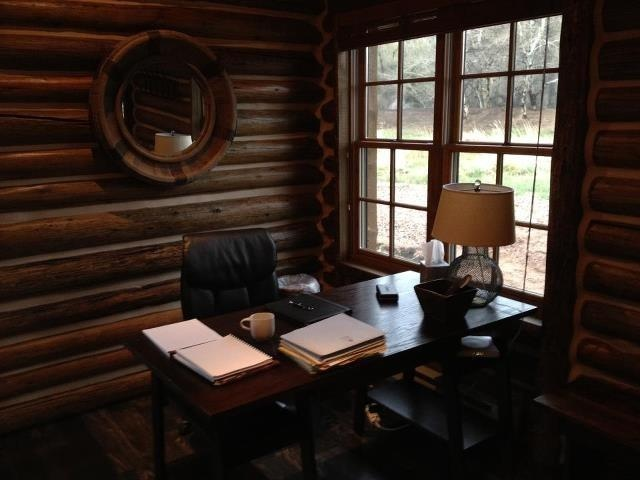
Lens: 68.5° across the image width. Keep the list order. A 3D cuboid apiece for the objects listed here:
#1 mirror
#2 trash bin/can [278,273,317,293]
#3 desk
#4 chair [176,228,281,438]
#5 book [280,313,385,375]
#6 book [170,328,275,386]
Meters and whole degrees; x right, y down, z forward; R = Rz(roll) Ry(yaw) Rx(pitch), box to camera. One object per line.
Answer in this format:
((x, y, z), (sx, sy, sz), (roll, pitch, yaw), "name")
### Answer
((-1.202, -1.018, 3.657), (1.104, 1.143, 0.180), (-8, 16, -35), "mirror")
((-0.194, 0.385, 4.228), (0.233, 0.075, 0.167), (1, 9, 11), "trash bin/can")
((0.022, 0.849, 2.642), (1.876, 0.917, 0.791), (-6, 14, -30), "desk")
((-0.465, 0.464, 2.910), (0.735, 0.848, 0.827), (-1, 25, -13), "chair")
((0.084, 0.488, 2.264), (0.341, 0.071, 0.243), (-8, 15, -35), "book")
((-0.465, 0.561, 2.234), (0.418, 0.077, 0.291), (12, 16, 42), "book")
